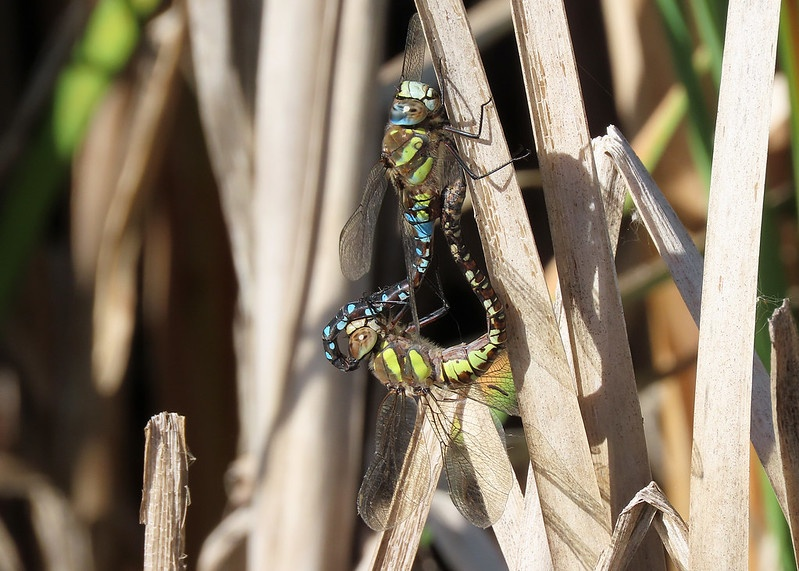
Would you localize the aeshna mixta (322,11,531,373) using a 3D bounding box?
[{"bbox_3d":[0.059,-0.186,2.555,0.312,0.786,0.346,3,8,27],"label":"aeshna mixta"}]
